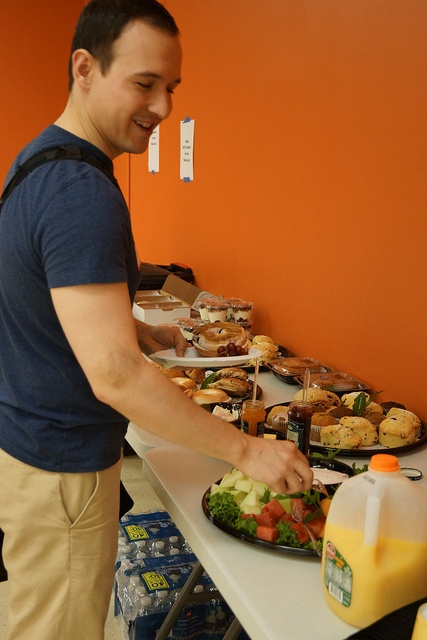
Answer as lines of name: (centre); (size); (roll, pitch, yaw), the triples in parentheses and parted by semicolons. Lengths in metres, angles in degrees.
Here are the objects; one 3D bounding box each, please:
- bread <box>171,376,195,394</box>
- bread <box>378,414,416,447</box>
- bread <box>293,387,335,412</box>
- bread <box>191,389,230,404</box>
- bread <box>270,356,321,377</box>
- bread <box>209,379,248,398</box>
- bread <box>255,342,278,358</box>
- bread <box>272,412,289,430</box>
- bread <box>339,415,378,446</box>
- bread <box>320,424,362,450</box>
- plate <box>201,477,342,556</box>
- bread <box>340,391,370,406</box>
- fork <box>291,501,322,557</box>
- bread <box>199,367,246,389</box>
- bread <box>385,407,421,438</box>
bread: (-0.091, 0.217, 1.783); (0.068, 0.025, 0.089); (3, 10, -17)
bread: (0.450, 0.266, 1.308); (0.077, 0.046, 0.073); (-1, 6, -1)
bread: (0.275, 0.218, 1.550); (0.133, 0.042, 0.092); (6, 3, 1)
bread: (-0.007, 0.231, 1.599); (0.143, 0.037, 0.129); (0, 4, -3)
bread: (0.291, 0.167, 1.895); (0.105, 0.030, 0.133); (-2, 11, -11)
bread: (0.061, 0.211, 1.701); (0.066, 0.027, 0.087); (3, 4, -37)
bread: (0.213, 0.119, 2.124); (0.081, 0.044, 0.076); (-1, 6, -24)
bread: (0.176, 0.267, 1.401); (0.047, 0.023, 0.042); (-5, 20, 15)
bread: (0.363, 0.266, 1.336); (0.056, 0.050, 0.092); (-7, 24, -32)
bread: (0.305, 0.284, 1.287); (0.054, 0.037, 0.073); (4, 1, -14)
plate: (0.088, 0.326, 0.899); (0.130, 0.013, 0.115); (5, 10, 34)
bread: (0.416, 0.232, 1.590); (0.065, 0.019, 0.056); (-18, 7, -22)
fork: (0.150, 0.337, 0.875); (0.016, 0.014, 0.093); (-31, 23, -2)
bread: (0.032, 0.195, 1.771); (0.091, 0.027, 0.096); (-4, 6, 18)
bread: (0.507, 0.263, 1.402); (0.072, 0.025, 0.082); (4, 10, 0)
